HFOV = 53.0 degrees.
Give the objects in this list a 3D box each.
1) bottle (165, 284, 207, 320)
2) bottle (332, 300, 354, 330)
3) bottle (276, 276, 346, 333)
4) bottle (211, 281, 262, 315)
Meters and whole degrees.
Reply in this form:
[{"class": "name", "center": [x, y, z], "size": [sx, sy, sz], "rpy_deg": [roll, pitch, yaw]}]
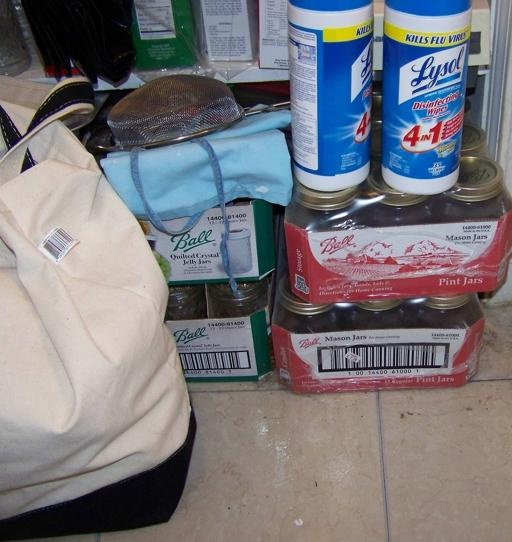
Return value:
[{"class": "bottle", "center": [-0.138, 0.066, 1.024], "size": [0.081, 0.077, 0.045], "rpy_deg": [-8, 70, 1]}, {"class": "bottle", "center": [0.160, 0.084, 0.943], "size": [0.045, 0.011, 0.042], "rpy_deg": [-7, 64, 16]}, {"class": "bottle", "center": [0.093, 0.057, 0.940], "size": [0.105, 0.084, 0.062], "rpy_deg": [7, 9, 5]}, {"class": "bottle", "center": [-0.030, 0.053, 1.042], "size": [0.086, 0.079, 0.079], "rpy_deg": [7, 37, 14]}]
